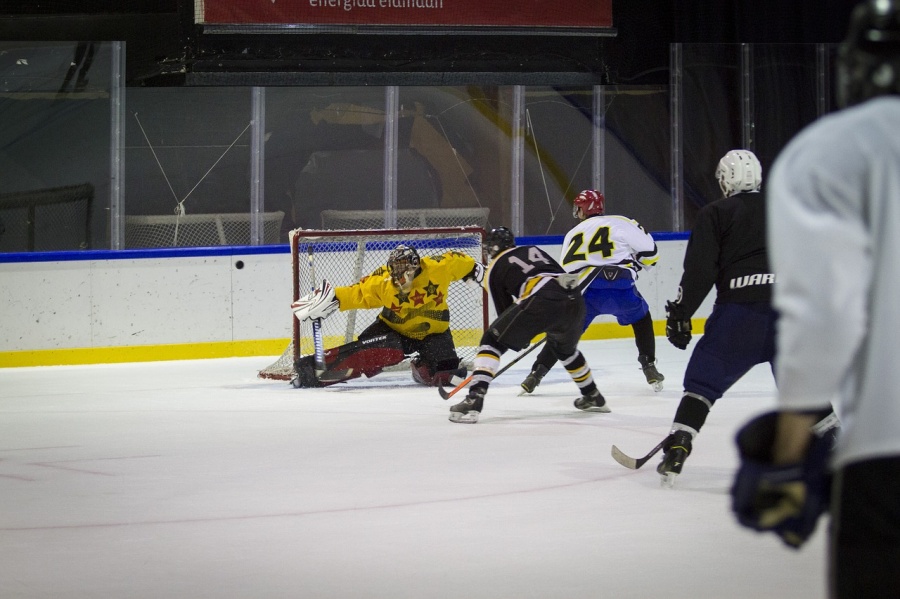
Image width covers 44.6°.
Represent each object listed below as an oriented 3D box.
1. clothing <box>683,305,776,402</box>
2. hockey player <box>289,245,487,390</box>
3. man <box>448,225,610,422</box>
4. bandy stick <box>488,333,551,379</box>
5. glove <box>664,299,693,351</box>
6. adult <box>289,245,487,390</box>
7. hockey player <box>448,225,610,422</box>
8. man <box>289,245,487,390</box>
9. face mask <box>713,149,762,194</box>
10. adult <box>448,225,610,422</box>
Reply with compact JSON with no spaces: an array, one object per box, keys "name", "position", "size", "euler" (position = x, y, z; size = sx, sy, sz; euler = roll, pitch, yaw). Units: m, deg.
[{"name":"clothing","position":[1.440,0.294,5.613],"size":[0.557,0.478,0.201],"euler":[16,-3,-7]},{"name":"hockey player","position":[-0.322,0.129,7.765],"size":[1.652,1.022,0.564],"euler":[-3,20,-2]},{"name":"man","position":[0.437,0.136,6.921],"size":[1.104,1.213,1.111],"euler":[2,-12,-29]},{"name":"bandy stick","position":[0.457,0.369,7.281],"size":[0.153,0.171,1.186],"euler":[-30,0,11]},{"name":"glove","position":[1.157,0.128,5.597],"size":[0.149,0.242,0.098],"euler":[4,10,16]},{"name":"adult","position":[-0.328,0.122,7.770],"size":[1.656,1.027,0.567],"euler":[-3,24,-6]},{"name":"hockey player","position":[0.446,0.139,6.931],"size":[1.119,1.203,1.061],"euler":[4,-12,-31]},{"name":"man","position":[-0.320,0.125,7.775],"size":[1.691,1.036,0.568],"euler":[-2,22,-1]},{"name":"face mask","position":[1.451,-0.659,5.610],"size":[0.206,0.253,0.252],"euler":[1,17,7]},{"name":"adult","position":[0.444,0.132,6.925],"size":[1.117,1.221,1.061],"euler":[4,-12,-31]}]
